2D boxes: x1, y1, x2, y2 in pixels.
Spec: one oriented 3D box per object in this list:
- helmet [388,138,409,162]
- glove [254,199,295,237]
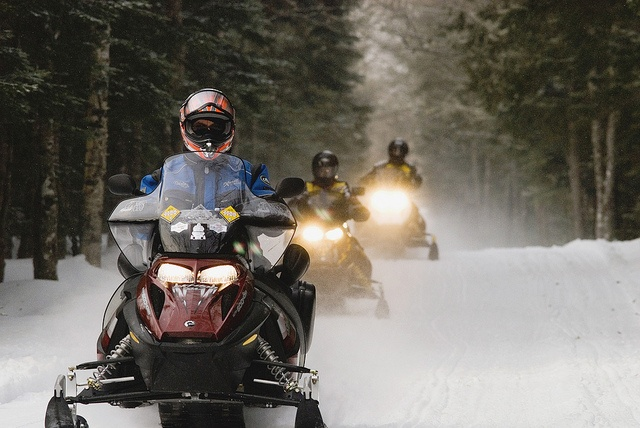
[{"bbox_3d":[2.101,-1.671,24.905,0.478,0.616,0.630,4,34,5],"label":"helmet"},{"bbox_3d":[-0.728,0.090,16.538,0.614,0.686,0.257,8,5,-7],"label":"glove"}]
